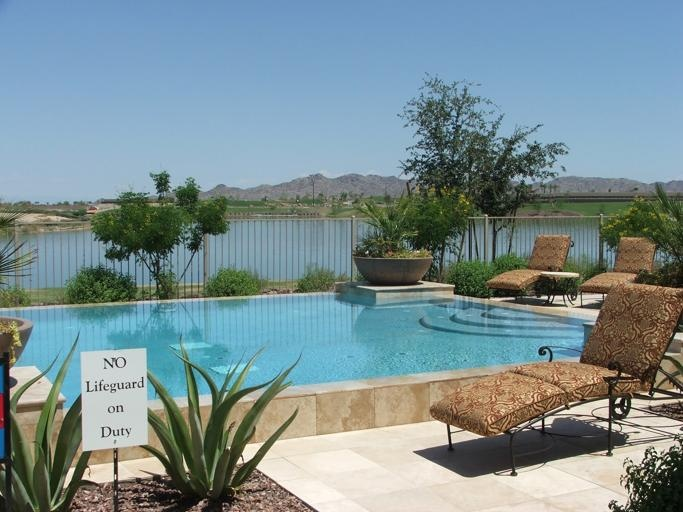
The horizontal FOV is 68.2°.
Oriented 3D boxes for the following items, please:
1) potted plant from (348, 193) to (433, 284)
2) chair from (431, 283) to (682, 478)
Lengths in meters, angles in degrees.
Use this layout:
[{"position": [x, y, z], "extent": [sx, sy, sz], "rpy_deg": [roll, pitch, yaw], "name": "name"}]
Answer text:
[{"position": [1.298, -0.371, 13.079], "extent": [1.904, 2.219, 1.205], "rpy_deg": [1, 2, 6], "name": "potted plant"}, {"position": [1.915, 0.923, 4.419], "extent": [2.485, 1.236, 1.162], "rpy_deg": [-1, 2, -22], "name": "chair"}]
